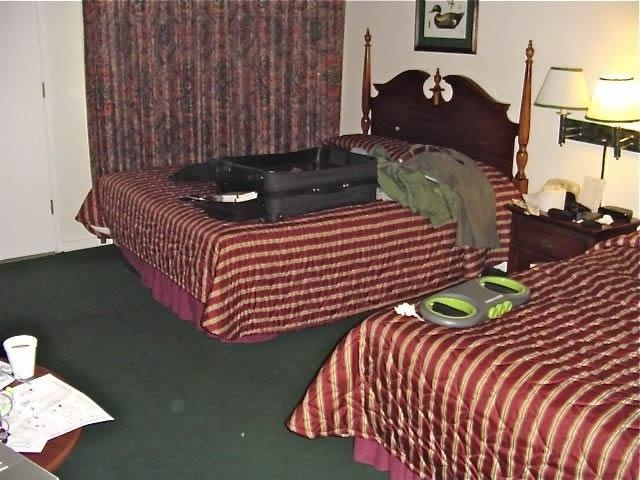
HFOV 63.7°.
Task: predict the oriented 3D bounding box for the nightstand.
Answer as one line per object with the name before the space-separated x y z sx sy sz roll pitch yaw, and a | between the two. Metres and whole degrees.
nightstand | 1.784 -0.092 3.764 0.508 0.670 0.697 -12 24 -26

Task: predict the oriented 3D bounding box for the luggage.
luggage | -0.070 -0.422 3.813 0.923 0.294 0.705 -11 21 -33
